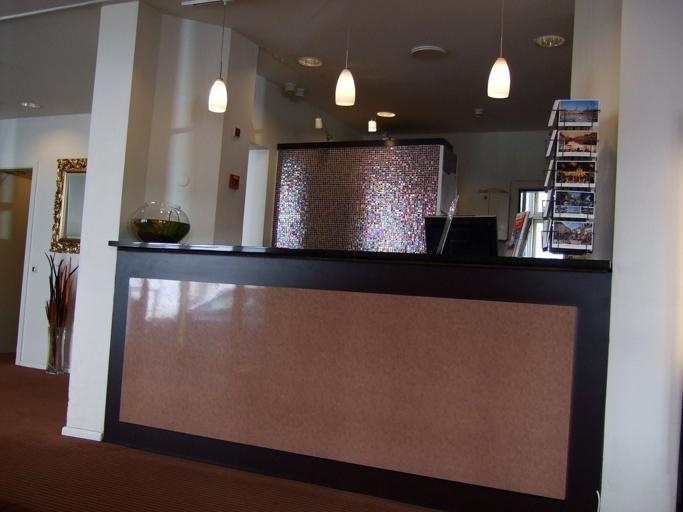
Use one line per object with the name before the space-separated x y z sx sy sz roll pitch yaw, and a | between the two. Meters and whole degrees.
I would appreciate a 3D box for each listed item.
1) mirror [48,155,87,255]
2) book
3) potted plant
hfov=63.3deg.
mirror | -3.373 -0.621 6.796 0.526 1.163 0.238 2 5 31
book | 1.351 -0.471 3.284 0.301 0.918 0.296 1 5 23
potted plant | -3.381 0.670 6.653 0.389 1.349 0.552 -3 5 -29
